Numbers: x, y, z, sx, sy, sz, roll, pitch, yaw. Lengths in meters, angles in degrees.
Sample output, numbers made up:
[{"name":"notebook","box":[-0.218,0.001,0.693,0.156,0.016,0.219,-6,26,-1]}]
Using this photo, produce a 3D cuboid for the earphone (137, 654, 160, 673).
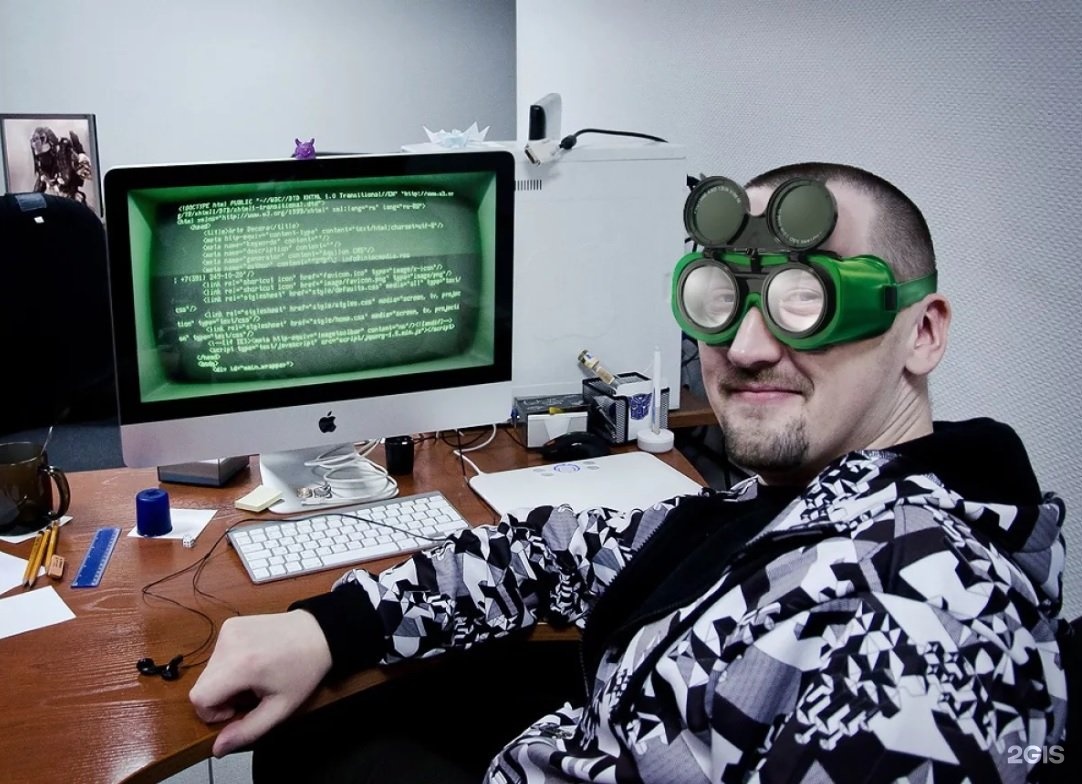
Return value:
[{"name":"earphone","box":[-0.544,0.376,1.219,0.021,0.026,0.008,-7,-5,-1]}]

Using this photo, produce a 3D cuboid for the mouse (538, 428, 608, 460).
[{"name":"mouse","box":[0.069,0.113,1.852,0.097,0.042,0.068,-5,13,-14]}]

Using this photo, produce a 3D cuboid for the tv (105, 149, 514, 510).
[{"name":"tv","box":[-0.417,-0.117,1.593,0.677,0.551,0.216,-4,14,-16]}]

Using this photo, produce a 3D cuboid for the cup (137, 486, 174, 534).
[{"name":"cup","box":[-0.663,0.206,1.565,0.073,0.075,0.072,3,10,0]}]

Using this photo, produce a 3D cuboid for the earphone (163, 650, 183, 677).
[{"name":"earphone","box":[-0.512,0.377,1.228,0.025,0.023,0.037,-8,15,-15]}]
